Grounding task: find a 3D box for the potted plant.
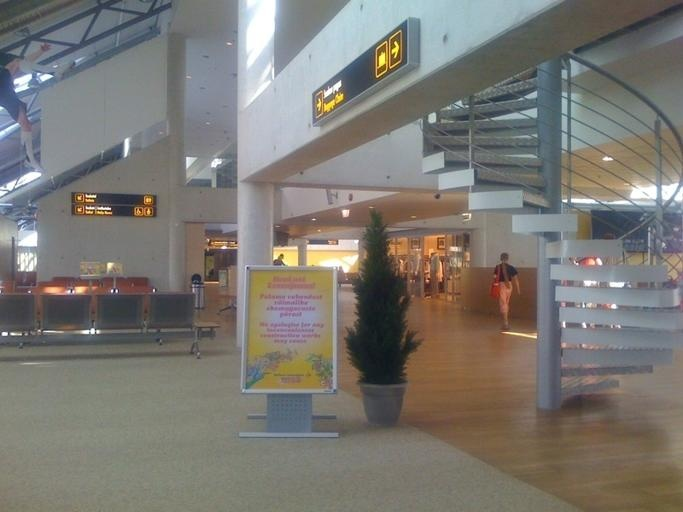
[{"bbox_3d":[0.386,0.572,5.683,0.696,2.031,0.400,0,1,3],"label":"potted plant"}]
